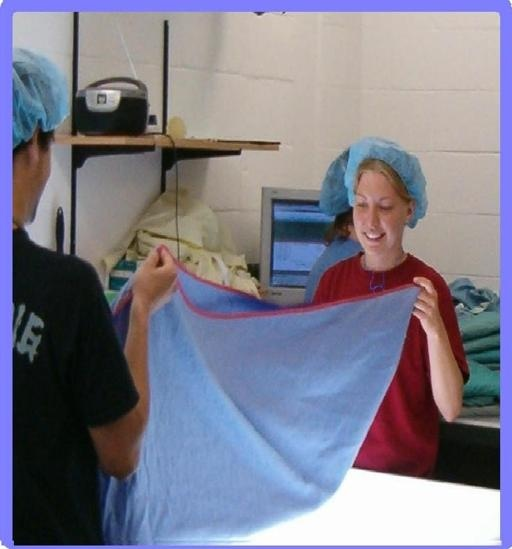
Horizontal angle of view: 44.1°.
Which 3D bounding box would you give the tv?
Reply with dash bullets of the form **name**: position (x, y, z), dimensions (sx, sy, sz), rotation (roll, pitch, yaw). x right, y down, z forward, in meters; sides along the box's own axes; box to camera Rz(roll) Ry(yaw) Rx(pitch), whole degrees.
- **tv**: position (0.133, -0.097, 2.404), dimensions (0.335, 0.663, 0.317), rotation (1, -2, -4)
